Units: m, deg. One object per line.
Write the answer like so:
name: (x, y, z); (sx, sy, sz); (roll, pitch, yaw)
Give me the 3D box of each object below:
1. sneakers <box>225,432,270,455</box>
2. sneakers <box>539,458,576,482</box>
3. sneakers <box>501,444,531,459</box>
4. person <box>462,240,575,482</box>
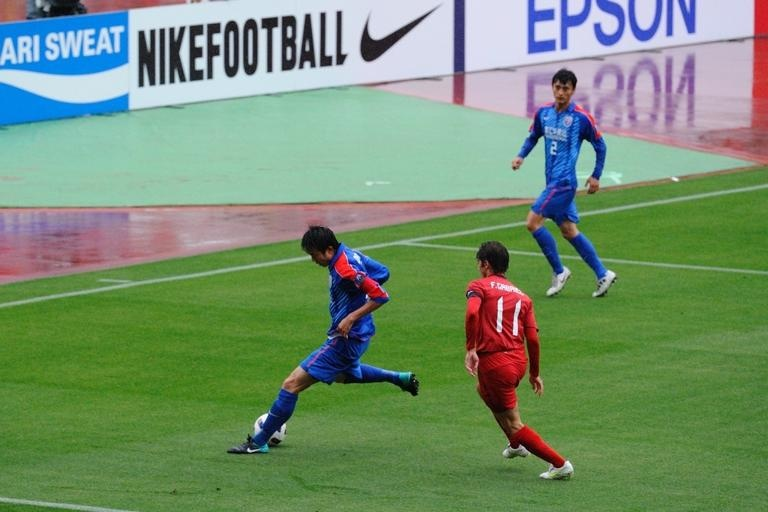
sneakers: (-1.443, 2.035, 14.716); (0.522, 0.153, 0.165); (1, -4, -1)
sneakers: (1.829, 2.199, 14.164); (0.474, 0.210, 0.121); (-8, 49, 23)
sneakers: (1.423, 2.060, 14.511); (0.372, 0.090, 0.153); (-1, -19, 7)
person: (1.363, 1.084, 14.292); (1.003, 2.420, 0.749); (-3, 8, 3)
